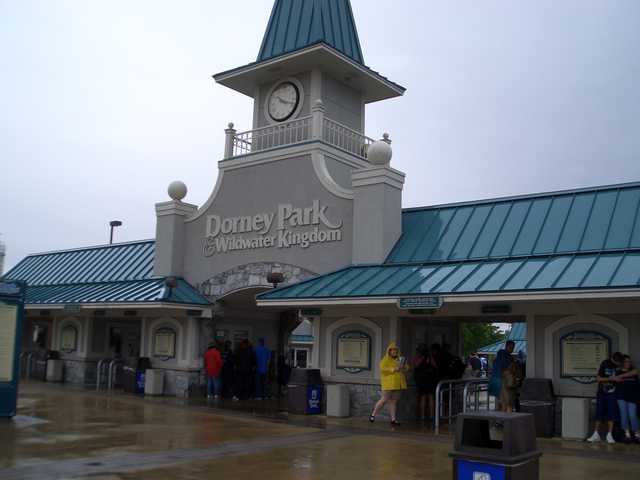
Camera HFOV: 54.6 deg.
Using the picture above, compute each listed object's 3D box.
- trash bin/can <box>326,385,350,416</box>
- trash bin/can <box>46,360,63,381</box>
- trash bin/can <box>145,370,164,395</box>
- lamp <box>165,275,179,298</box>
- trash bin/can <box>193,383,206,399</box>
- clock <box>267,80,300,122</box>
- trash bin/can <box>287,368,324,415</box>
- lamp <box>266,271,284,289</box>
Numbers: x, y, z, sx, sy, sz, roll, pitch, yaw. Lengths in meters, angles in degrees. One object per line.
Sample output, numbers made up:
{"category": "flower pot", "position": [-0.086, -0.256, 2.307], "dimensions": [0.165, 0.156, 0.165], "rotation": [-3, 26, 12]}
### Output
{"category": "trash bin/can", "position": [0.497, 4.474, 17.415], "dimensions": [0.672, 1.022, 0.533], "rotation": [-8, -15, 37]}
{"category": "trash bin/can", "position": [-10.734, 5.244, 25.110], "dimensions": [0.660, 0.840, 0.641], "rotation": [6, -10, -17]}
{"category": "trash bin/can", "position": [-5.730, 4.911, 21.571], "dimensions": [0.662, 0.843, 0.584], "rotation": [5, -10, -15]}
{"category": "lamp", "position": [-5.147, 1.562, 21.459], "dimensions": [0.416, 0.612, 0.177], "rotation": [7, -4, -31]}
{"category": "trash bin/can", "position": [-4.187, 5.185, 21.429], "dimensions": [0.420, 0.400, 0.209], "rotation": [11, -14, -41]}
{"category": "clock", "position": [-1.288, -5.066, 22.737], "dimensions": [1.730, 1.831, 0.190], "rotation": [-2, -10, 42]}
{"category": "trash bin/can", "position": [-0.380, 4.325, 17.900], "dimensions": [1.021, 1.272, 0.635], "rotation": [3, -10, -2]}
{"category": "lamp", "position": [-1.446, 1.184, 19.463], "dimensions": [0.633, 0.638, 0.432], "rotation": [1, 3, 32]}
